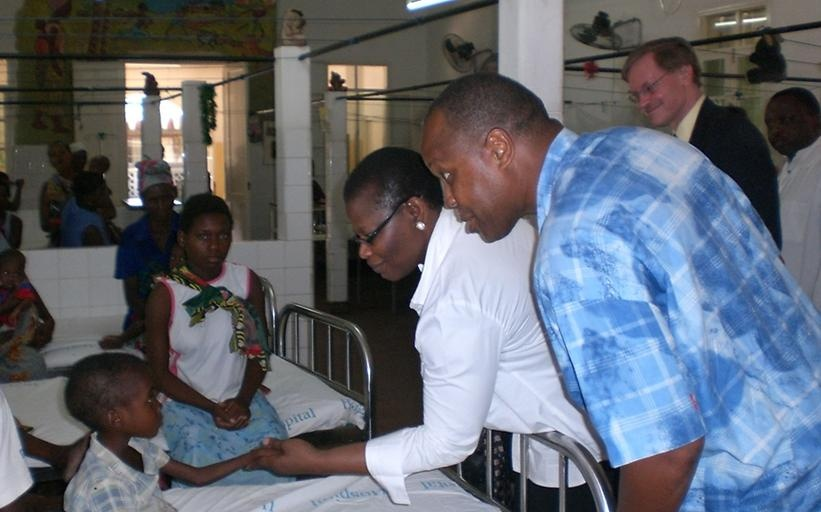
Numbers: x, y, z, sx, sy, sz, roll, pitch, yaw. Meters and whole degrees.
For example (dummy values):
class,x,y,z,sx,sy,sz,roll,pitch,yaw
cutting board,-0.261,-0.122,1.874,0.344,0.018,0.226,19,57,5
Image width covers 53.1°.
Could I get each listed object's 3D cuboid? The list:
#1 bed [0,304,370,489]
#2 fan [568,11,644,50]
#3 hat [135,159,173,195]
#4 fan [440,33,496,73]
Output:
class,x,y,z,sx,sy,sz,roll,pitch,yaw
bed,-1.487,1.032,5.841,1.909,0.898,1.382,-5,11,-27
fan,2.200,-2.608,9.387,0.745,0.334,0.717,-4,22,-34
hat,-2.191,-0.698,6.994,0.278,0.243,0.343,-21,5,-33
fan,0.802,-2.820,11.401,0.683,0.570,0.994,1,8,0
